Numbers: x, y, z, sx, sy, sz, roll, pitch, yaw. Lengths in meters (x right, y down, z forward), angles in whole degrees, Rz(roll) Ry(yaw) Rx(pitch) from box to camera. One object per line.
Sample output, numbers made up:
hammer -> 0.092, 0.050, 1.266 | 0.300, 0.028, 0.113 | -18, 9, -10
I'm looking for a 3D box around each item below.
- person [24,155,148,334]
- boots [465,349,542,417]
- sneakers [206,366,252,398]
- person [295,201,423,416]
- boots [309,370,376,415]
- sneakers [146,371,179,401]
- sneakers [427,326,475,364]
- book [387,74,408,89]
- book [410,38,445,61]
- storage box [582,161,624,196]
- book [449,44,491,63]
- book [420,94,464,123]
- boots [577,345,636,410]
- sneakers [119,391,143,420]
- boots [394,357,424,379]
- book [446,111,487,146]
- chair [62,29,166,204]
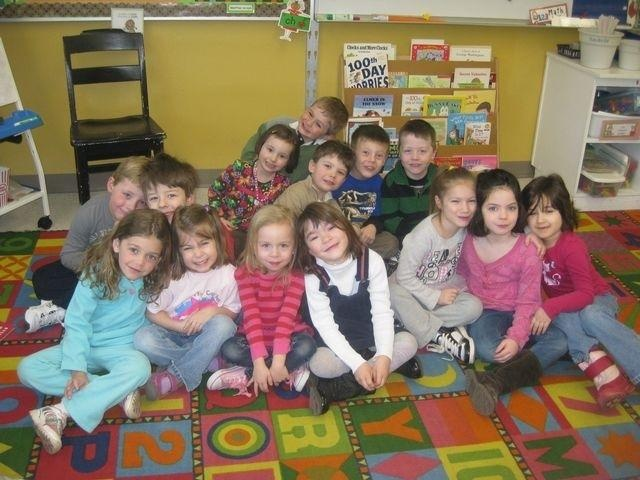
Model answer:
person -> -1.173, 0.028, 2.481 | 0.448, 1.040, 0.371 | 4, 43, -35
boots -> 0.760, 0.559, 2.082 | 0.313, 0.138, 0.199 | -17, 36, -15
sneakers -> -0.359, 0.559, 2.077 | 0.235, 0.079, 0.090 | -4, 20, -24
person -> 0.146, 0.252, 2.060 | 0.489, 0.743, 0.563 | -5, 14, 19
boots -> 0.058, 0.569, 2.063 | 0.283, 0.198, 0.096 | -10, 14, -10
sneakers -> -0.619, 0.558, 2.042 | 0.059, 0.072, 0.132 | 5, 26, 42
sneakers -> 0.585, 0.465, 2.306 | 0.107, 0.085, 0.251 | -5, 14, -15
book -> 0.514, -1.065, 3.443 | 0.103, 0.074, 0.006 | -1, 11, -9
book -> 0.735, -1.279, 3.475 | 0.249, 0.138, 0.103 | 4, 22, 13
storage box -> 1.831, -0.394, 3.349 | 0.186, 0.118, 0.264 | 0, 22, 0
book -> 1.048, -1.265, 3.510 | 0.333, 0.106, 0.077 | -7, 22, -13
book -> 0.824, -0.909, 3.519 | 0.386, 0.263, 0.019 | 0, 10, -14
boots -> 1.157, 0.543, 2.141 | 0.114, 0.105, 0.271 | 34, 18, -21
sneakers -> -0.697, 0.613, 1.930 | 0.058, 0.056, 0.120 | -7, 12, 0
boots -> 0.380, 0.538, 2.204 | 0.123, 0.052, 0.046 | 11, 21, 41
book -> 1.046, -0.778, 3.595 | 0.255, 0.236, 0.058 | -2, 12, -6
chair -> -1.226, -0.722, 3.078 | 0.658, 0.908, 0.640 | 25, 35, 33
